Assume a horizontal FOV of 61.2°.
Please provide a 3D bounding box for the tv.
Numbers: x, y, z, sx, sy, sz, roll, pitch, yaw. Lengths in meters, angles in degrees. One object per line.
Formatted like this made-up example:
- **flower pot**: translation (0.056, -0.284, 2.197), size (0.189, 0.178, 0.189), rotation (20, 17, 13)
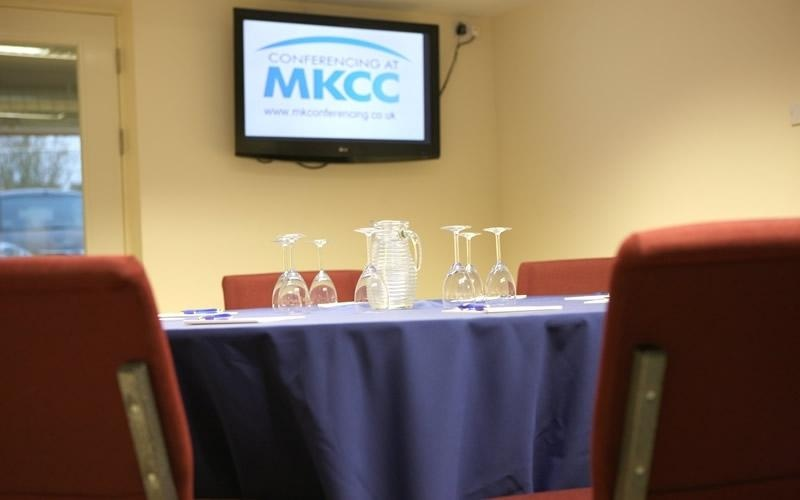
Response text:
- **tv**: translation (-0.475, -1.073, 4.408), size (0.993, 0.719, 0.109), rotation (1, -4, -20)

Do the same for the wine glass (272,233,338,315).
- **wine glass**: translation (-0.445, 0.099, 3.047), size (0.142, 0.347, 0.349), rotation (-3, -2, 43)
